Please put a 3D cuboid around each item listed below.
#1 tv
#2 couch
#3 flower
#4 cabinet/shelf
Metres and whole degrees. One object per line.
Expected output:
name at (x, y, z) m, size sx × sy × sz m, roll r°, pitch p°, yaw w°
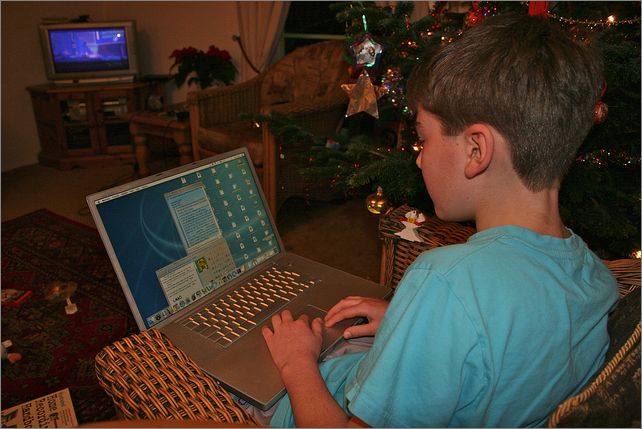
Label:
tv at (-2.249, -1.719, 4.645) m, size 1.098 × 0.712 × 0.558 m, roll -6°, pitch 25°, yaw -19°
couch at (-0.343, -0.676, 3.790) m, size 1.153 × 1.286 × 1.123 m, roll -16°, pitch 30°, yaw -35°
flower at (-1.140, -1.527, 4.613) m, size 0.645 × 0.363 × 0.624 m, roll -1°, pitch 10°, yaw 0°
cabinet/shelf at (-2.188, -0.857, 4.504) m, size 0.966 × 0.573 × 0.298 m, roll -7°, pitch 22°, yaw -22°
